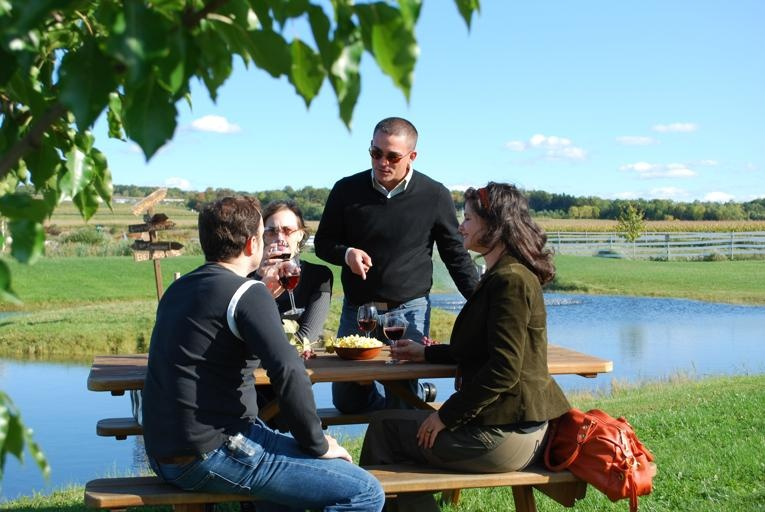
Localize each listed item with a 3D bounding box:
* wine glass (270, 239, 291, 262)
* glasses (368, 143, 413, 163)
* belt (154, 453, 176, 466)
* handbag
[{"bbox_3d":[-0.756,-0.053,4.555,0.155,0.174,0.161,-2,-12,28],"label":"wine glass"},{"bbox_3d":[0.034,-0.819,4.934,0.299,0.167,0.108,0,-2,2],"label":"glasses"},{"bbox_3d":[-1.109,1.027,3.130,0.095,0.048,0.075,-10,-12,29],"label":"belt"},{"bbox_3d":[1.321,1.174,3.791,0.506,0.364,0.639,26,9,-46],"label":"handbag"}]
